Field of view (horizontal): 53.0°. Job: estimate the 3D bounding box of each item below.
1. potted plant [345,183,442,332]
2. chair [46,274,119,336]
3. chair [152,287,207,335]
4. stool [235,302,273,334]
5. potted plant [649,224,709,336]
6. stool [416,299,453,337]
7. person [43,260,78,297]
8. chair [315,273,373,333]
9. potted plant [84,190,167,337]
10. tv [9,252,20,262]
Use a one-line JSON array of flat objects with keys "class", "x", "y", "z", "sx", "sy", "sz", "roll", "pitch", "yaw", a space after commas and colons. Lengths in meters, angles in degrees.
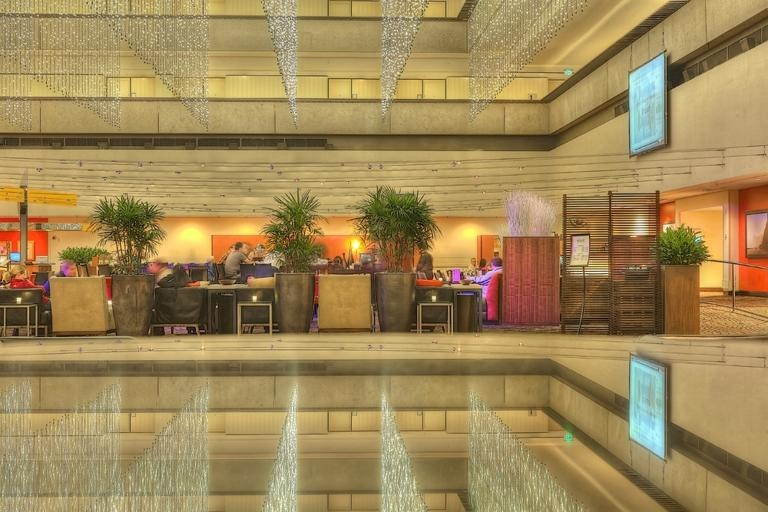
[{"class": "potted plant", "x": 0.208, "y": 0.098, "z": 13.684, "sx": 1.603, "sy": 2.556, "sz": 1.553, "roll": -3, "pitch": -6, "yaw": 31}, {"class": "chair", "x": -5.109, "y": 0.853, "z": 13.224, "sx": 1.248, "sy": 0.986, "sz": 1.262, "roll": -2, "pitch": 2, "yaw": -43}, {"class": "chair", "x": -3.564, "y": 0.942, "z": 13.252, "sx": 0.817, "sy": 0.769, "sz": 0.808, "roll": 0, "pitch": -1, "yaw": -7}, {"class": "stool", "x": -2.291, "y": 0.987, "z": 13.298, "sx": 0.712, "sy": 0.649, "sz": 0.535, "roll": 0, "pitch": -9, "yaw": -8}, {"class": "potted plant", "x": 5.092, "y": 0.392, "z": 13.126, "sx": 0.749, "sy": 1.790, "sz": 0.791, "roll": -1, "pitch": 0, "yaw": 27}, {"class": "stool", "x": 0.850, "y": 1.065, "z": 13.415, "sx": 0.588, "sy": 0.492, "sz": 0.553, "roll": 0, "pitch": -7, "yaw": -2}, {"class": "person", "x": -6.237, "y": 0.438, "z": 14.640, "sx": 0.737, "sy": 0.873, "sz": 0.687, "roll": 0, "pitch": -4, "yaw": -9}, {"class": "chair", "x": -0.711, "y": 0.828, "z": 13.202, "sx": 0.943, "sy": 0.884, "sz": 0.932, "roll": 1, "pitch": -7, "yaw": -10}, {"class": "potted plant", "x": -4.454, "y": 0.218, "z": 13.254, "sx": 1.565, "sy": 2.469, "sz": 1.415, "roll": -2, "pitch": 0, "yaw": 26}, {"class": "tv", "x": -11.214, "y": 0.039, "z": 23.038, "sx": 0.333, "sy": 0.310, "sz": 0.169, "roll": -1, "pitch": -4, "yaw": -5}]
